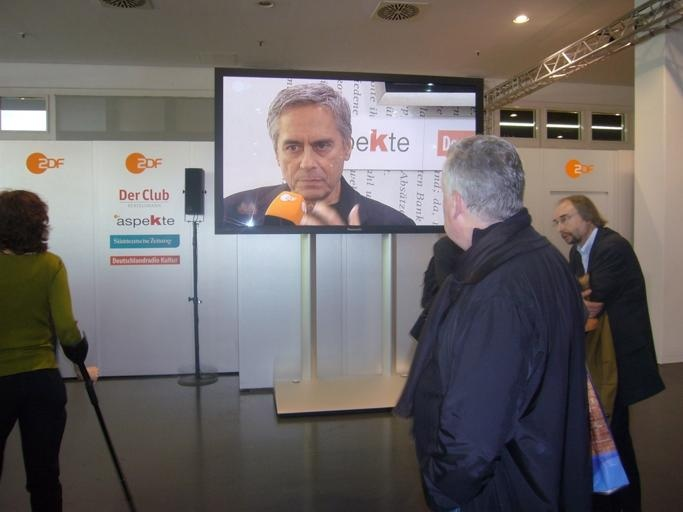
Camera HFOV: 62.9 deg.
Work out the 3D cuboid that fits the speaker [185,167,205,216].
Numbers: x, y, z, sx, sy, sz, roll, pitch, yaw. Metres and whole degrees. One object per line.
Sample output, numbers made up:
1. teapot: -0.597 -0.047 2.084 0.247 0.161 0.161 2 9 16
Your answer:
1. speaker: -1.624 -0.710 6.163 0.213 0.526 0.245 -3 8 -16
